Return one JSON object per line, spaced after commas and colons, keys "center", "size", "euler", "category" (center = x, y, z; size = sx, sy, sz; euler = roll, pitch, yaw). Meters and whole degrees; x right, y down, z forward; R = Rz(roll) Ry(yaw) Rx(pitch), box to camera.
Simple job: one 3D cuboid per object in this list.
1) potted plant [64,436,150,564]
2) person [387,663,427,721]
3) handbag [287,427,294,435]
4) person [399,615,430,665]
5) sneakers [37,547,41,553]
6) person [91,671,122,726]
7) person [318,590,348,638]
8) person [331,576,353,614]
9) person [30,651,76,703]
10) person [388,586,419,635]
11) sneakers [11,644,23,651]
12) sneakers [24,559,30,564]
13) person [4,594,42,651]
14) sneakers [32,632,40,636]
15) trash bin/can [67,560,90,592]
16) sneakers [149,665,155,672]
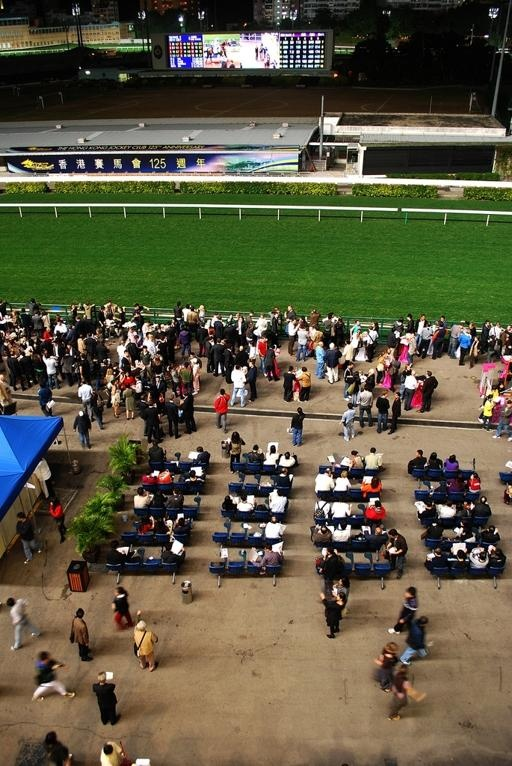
{"center": [-3.102, 2.489, 12.949], "size": [0.889, 1.037, 2.594], "euler": [10, 30, -2], "category": "potted plant"}
{"center": [2.061, 4.345, 8.578], "size": [0.383, 0.853, 0.494], "euler": [0, 19, -22], "category": "person"}
{"center": [0.912, 1.278, 15.982], "size": [0.191, 0.071, 0.244], "euler": [3, 20, 10], "category": "handbag"}
{"center": [2.475, 4.061, 9.522], "size": [0.470, 0.828, 0.346], "euler": [-20, 55, -6], "category": "person"}
{"center": [-4.376, 3.399, 12.311], "size": [0.057, 0.121, 0.113], "euler": [-1, 48, -17], "category": "sneakers"}
{"center": [-2.076, 4.369, 8.415], "size": [0.337, 0.836, 0.232], "euler": [-3, 20, -2], "category": "person"}
{"center": [1.279, 3.738, 10.042], "size": [0.349, 0.837, 0.513], "euler": [-1, 21, 5], "category": "person"}
{"center": [1.431, 3.580, 10.184], "size": [0.233, 0.715, 0.305], "euler": [19, 56, 14], "category": "person"}
{"center": [-3.039, 4.343, 8.925], "size": [0.627, 0.727, 0.265], "euler": [-12, 6, -2], "category": "person"}
{"center": [2.419, 3.777, 9.991], "size": [0.446, 0.956, 0.340], "euler": [-5, 58, -1], "category": "person"}
{"center": [-3.911, 4.339, 9.965], "size": [0.146, 0.057, 0.071], "euler": [-1, 18, -35], "category": "sneakers"}
{"center": [-4.515, 3.544, 12.018], "size": [0.106, 0.051, 0.164], "euler": [-13, 23, -26], "category": "sneakers"}
{"center": [-3.894, 4.055, 10.162], "size": [0.369, 0.993, 0.394], "euler": [22, 56, 4], "category": "person"}
{"center": [-3.679, 4.226, 10.177], "size": [0.119, 0.076, 0.061], "euler": [-7, 58, -16], "category": "sneakers"}
{"center": [-3.264, 3.577, 11.171], "size": [0.345, 0.569, 0.324], "euler": [6, 46, 1], "category": "trash bin/can"}
{"center": [-1.609, 4.451, 9.453], "size": [0.047, 0.057, 0.144], "euler": [15, 50, 2], "category": "sneakers"}
